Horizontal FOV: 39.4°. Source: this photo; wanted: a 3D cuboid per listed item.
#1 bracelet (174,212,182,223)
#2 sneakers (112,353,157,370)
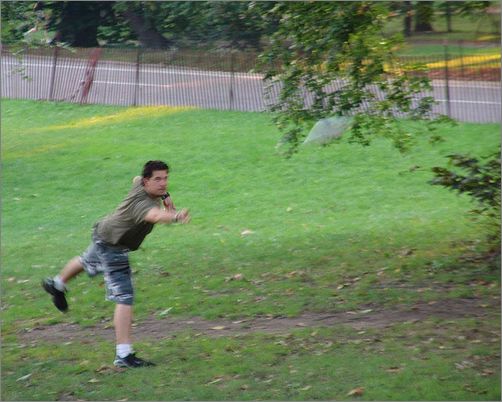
[{"bbox_3d":[-0.844,0.190,8.183,0.098,0.128,0.057,18,6,-10],"label":"bracelet"},{"bbox_3d":[-1.467,2.027,8.784,0.640,0.131,0.169,1,-3,-1],"label":"sneakers"}]
